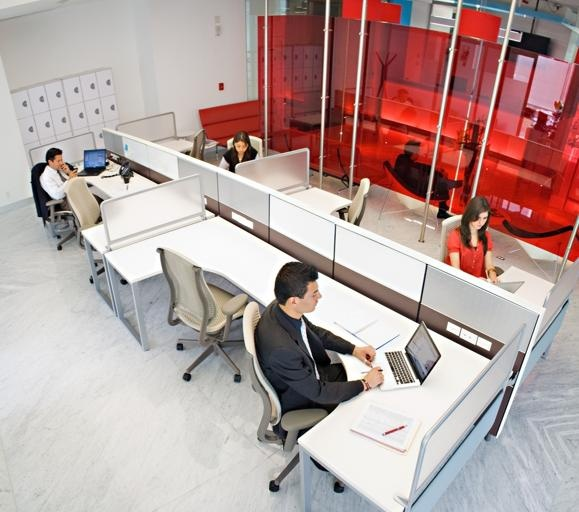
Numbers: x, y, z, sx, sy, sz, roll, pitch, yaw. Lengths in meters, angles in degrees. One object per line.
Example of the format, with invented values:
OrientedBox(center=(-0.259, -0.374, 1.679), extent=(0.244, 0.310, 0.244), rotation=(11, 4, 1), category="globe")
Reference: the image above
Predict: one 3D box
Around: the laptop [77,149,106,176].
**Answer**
OrientedBox(center=(-2.589, -1.244, 5.340), extent=(0.368, 0.304, 0.336), rotation=(-3, 34, -9), category="laptop")

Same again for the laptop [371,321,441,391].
OrientedBox(center=(0.649, 0.639, 2.342), extent=(0.337, 0.252, 0.368), rotation=(-13, 42, -5), category="laptop")

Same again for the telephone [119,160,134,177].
OrientedBox(center=(-2.074, -1.103, 5.150), extent=(0.139, 0.167, 0.622), rotation=(-10, 34, -17), category="telephone")

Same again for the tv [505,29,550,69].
OrientedBox(center=(2.667, -2.330, 4.534), extent=(0.383, 0.232, 1.691), rotation=(20, 37, 27), category="tv")

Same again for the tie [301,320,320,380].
OrientedBox(center=(0.097, 0.536, 2.301), extent=(0.067, 0.305, 0.210), rotation=(-9, -15, 37), category="tie")

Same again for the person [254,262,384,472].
OrientedBox(center=(0.180, 0.650, 2.350), extent=(0.655, 1.282, 0.572), rotation=(-2, 28, 7), category="person")
